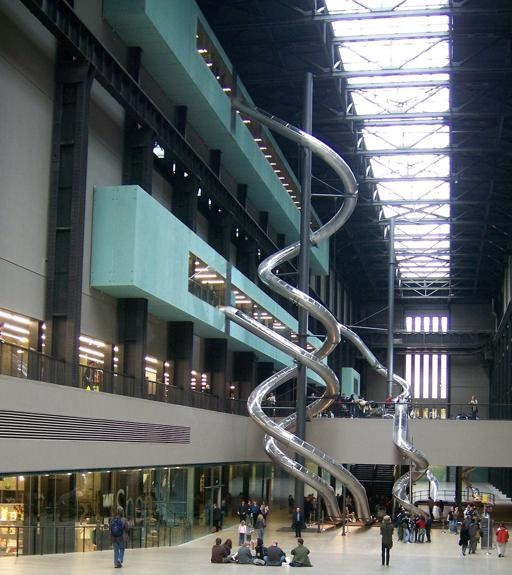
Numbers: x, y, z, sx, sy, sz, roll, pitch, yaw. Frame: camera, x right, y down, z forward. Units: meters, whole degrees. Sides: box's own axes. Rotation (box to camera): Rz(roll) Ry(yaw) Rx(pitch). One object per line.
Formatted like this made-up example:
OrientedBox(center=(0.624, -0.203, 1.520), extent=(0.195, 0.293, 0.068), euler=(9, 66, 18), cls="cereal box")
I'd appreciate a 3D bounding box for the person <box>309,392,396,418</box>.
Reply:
OrientedBox(center=(5.085, 5.975, 45.588), extent=(3.443, 1.057, 0.704), euler=(-3, -13, 8), cls="person")
